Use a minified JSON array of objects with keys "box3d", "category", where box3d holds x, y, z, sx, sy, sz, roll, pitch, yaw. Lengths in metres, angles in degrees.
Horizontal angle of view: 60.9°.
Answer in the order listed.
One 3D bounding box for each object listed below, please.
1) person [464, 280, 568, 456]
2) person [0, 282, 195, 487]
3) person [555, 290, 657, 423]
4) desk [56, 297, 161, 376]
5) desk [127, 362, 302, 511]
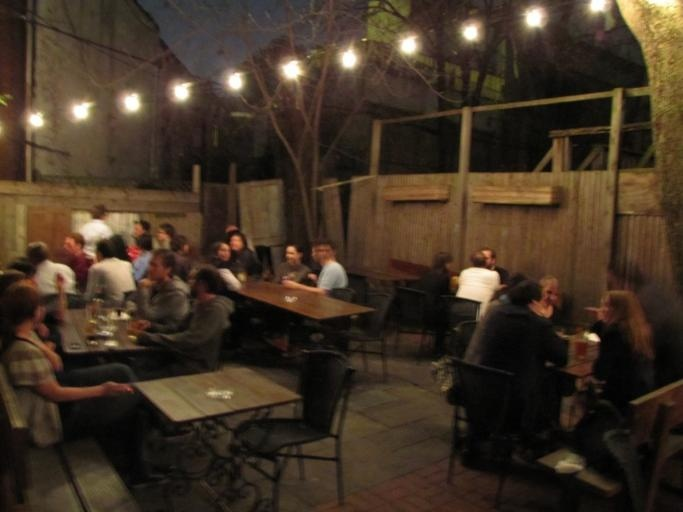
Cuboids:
[{"box3d":[1.674,1.073,5.657,1.044,1.546,0.875,11,20,34],"category":"person"},{"box3d":[-2.159,1.202,5.228,1.235,1.853,1.064,-17,33,-31],"category":"person"},{"box3d":[2.579,0.868,5.254,0.524,1.045,0.423,10,13,29],"category":"person"},{"box3d":[-2.511,0.892,6.124,0.765,0.386,1.512,-2,11,-31],"category":"desk"},{"box3d":[-1.138,1.569,5.205,1.303,1.123,1.263,-3,10,-38],"category":"desk"}]
